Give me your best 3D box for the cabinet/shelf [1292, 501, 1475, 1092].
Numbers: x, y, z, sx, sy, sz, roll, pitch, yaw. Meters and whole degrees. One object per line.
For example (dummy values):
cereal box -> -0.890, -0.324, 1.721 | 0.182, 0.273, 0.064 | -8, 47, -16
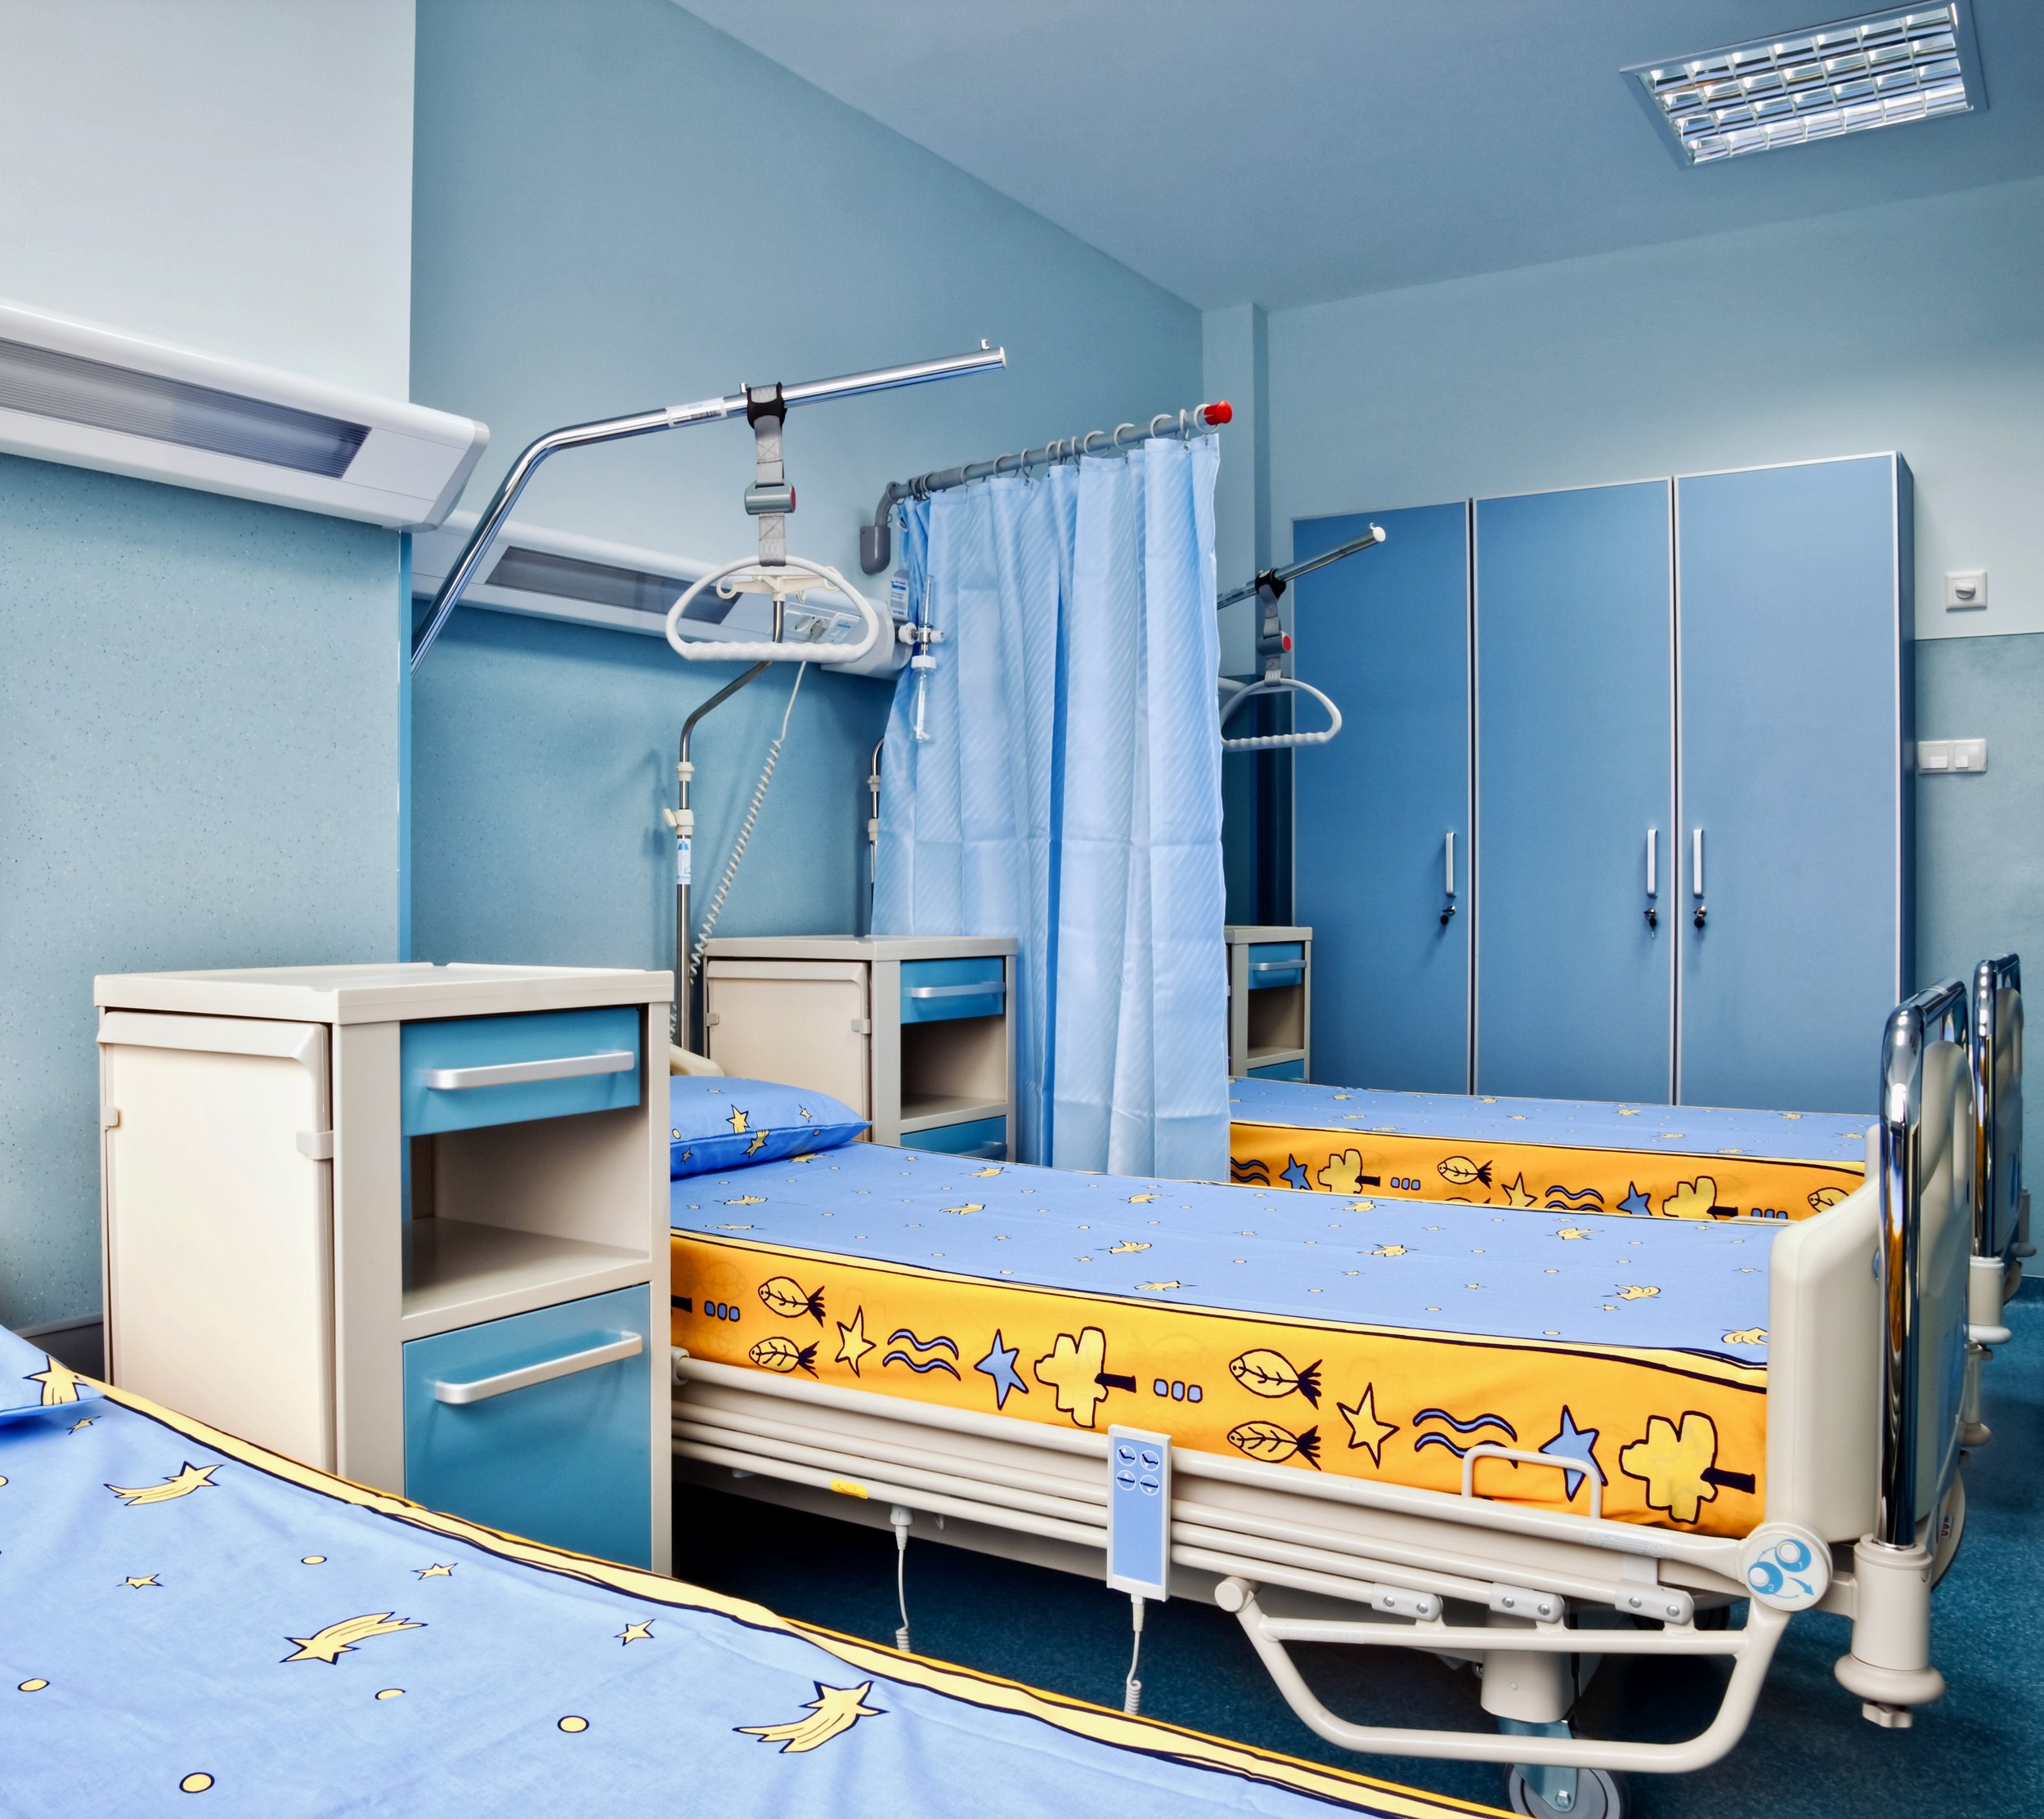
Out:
cabinet/shelf -> 0.975, -0.169, 4.599 | 0.402, 1.479, 0.138 | -1, -1, -27

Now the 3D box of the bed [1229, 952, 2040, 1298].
bed -> 1.008, 0.425, 3.277 | 1.418, 0.505, 0.731 | 0, 1, 22

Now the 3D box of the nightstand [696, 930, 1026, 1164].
nightstand -> -0.311, 0.199, 3.256 | 0.512, 0.559, 0.452 | 0, 1, 26

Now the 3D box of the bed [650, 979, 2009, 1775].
bed -> 0.240, 0.420, 2.216 | 1.559, 0.616, 0.924 | -1, 0, 28
